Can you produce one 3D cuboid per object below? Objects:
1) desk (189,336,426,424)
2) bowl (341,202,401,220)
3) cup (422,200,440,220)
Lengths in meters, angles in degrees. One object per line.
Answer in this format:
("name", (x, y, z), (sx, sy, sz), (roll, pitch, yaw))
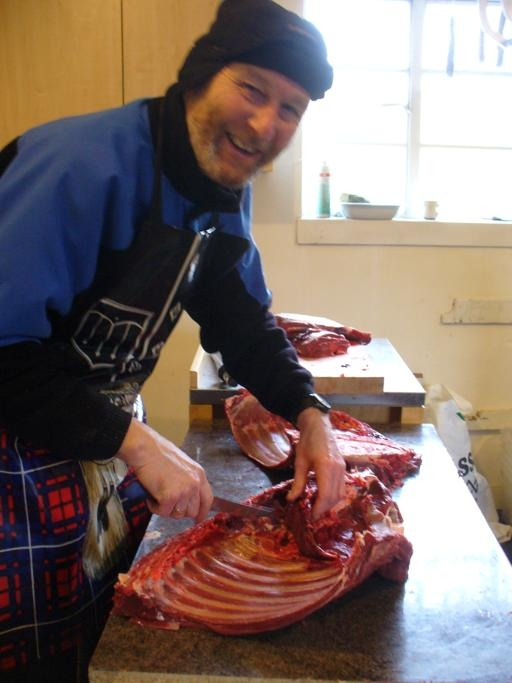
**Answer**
("desk", (0.288, 0.142, 2.003), (0.414, 0.186, 0.445), (-4, 20, -9))
("bowl", (0.610, -0.695, 3.156), (0.291, 0.091, 0.131), (4, 13, 7))
("cup", (0.987, -0.743, 3.311), (0.077, 0.106, 0.161), (6, 13, 17))
